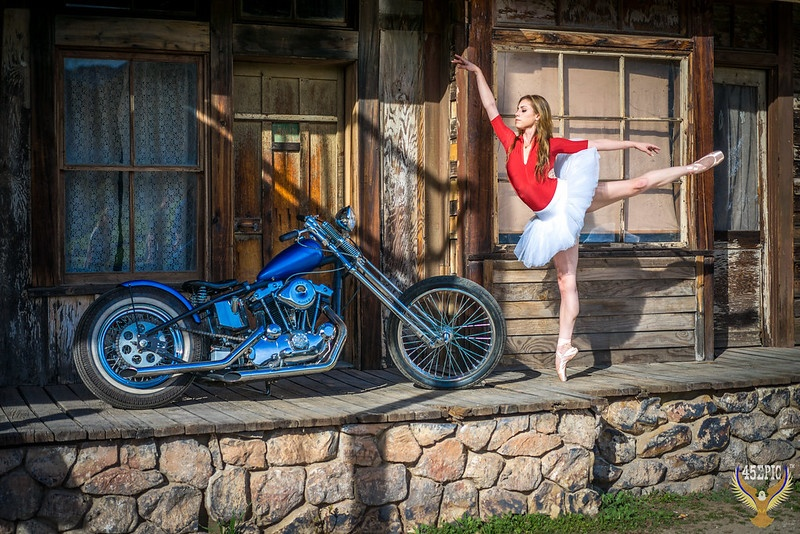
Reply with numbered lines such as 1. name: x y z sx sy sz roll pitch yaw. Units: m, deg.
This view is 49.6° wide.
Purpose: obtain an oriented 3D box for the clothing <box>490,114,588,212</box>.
1. clothing: 1.155 -0.950 7.488 0.614 1.117 0.323 -5 -17 17

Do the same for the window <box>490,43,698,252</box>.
1. window: 1.709 -1.114 7.931 1.570 1.717 0.170 0 3 -10

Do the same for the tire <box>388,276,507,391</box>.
1. tire: 0.426 0.558 7.477 0.723 0.917 0.191 0 2 -4

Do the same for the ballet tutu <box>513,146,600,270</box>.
1. ballet tutu: 1.368 -0.491 7.379 0.267 1.004 0.668 24 -10 -33

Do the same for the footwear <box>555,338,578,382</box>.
1. footwear: 1.436 0.730 7.481 0.133 0.451 0.167 -14 38 -22

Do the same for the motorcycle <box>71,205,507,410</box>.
1. motorcycle: -0.728 0.318 7.841 3.901 2.210 1.574 -3 0 -11
